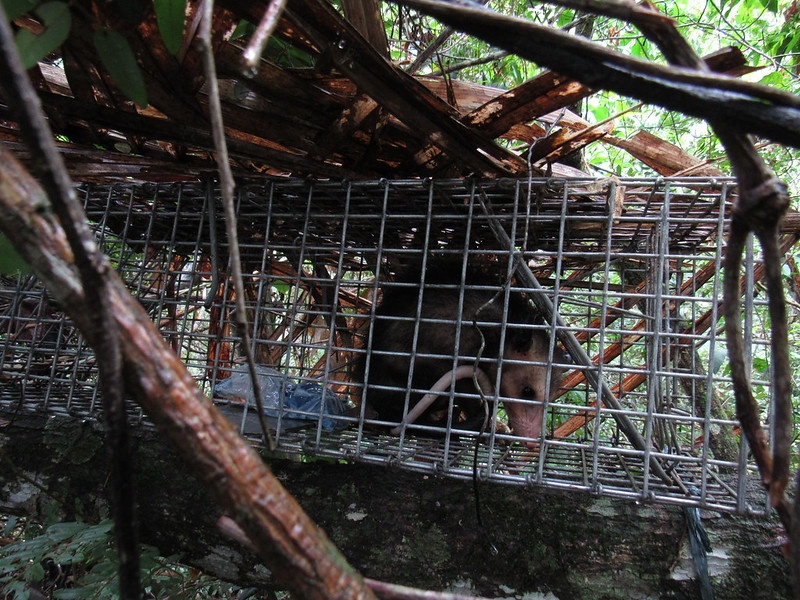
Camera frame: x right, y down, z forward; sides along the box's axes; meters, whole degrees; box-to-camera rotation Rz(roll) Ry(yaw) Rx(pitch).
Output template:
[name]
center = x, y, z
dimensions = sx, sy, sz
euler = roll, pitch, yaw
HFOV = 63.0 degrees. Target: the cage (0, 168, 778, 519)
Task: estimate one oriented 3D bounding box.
[cage]
center = -0.018, 0.167, 3.034
dimensions = 3.047, 1.079, 2.443
euler = 1, -3, 24
